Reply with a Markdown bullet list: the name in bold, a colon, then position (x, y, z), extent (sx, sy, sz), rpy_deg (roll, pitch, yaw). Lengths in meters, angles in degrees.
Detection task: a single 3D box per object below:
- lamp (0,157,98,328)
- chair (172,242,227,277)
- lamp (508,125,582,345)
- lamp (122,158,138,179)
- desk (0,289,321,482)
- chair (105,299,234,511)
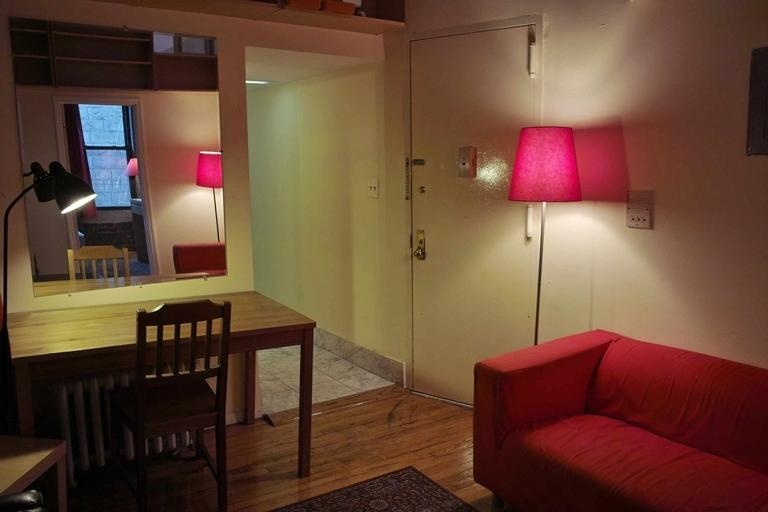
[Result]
- **lamp**: position (-1.962, -0.092, 3.297), extent (0.550, 0.885, 0.514), rpy_deg (-8, 16, -27)
- **chair**: position (-1.273, 0.088, 3.938), extent (0.366, 0.258, 0.202), rpy_deg (-3, -35, -15)
- **lamp**: position (1.017, -0.085, 3.649), extent (0.416, 1.449, 0.388), rpy_deg (4, 15, 18)
- **lamp**: position (-1.604, -0.556, 3.618), extent (0.098, 0.104, 0.098), rpy_deg (8, 9, 28)
- **desk**: position (-1.406, 0.856, 3.644), extent (1.677, 0.986, 1.012), rpy_deg (-3, 8, -40)
- **chair**: position (-1.212, 0.788, 3.240), extent (0.662, 1.222, 0.765), rpy_deg (-8, 16, -26)
